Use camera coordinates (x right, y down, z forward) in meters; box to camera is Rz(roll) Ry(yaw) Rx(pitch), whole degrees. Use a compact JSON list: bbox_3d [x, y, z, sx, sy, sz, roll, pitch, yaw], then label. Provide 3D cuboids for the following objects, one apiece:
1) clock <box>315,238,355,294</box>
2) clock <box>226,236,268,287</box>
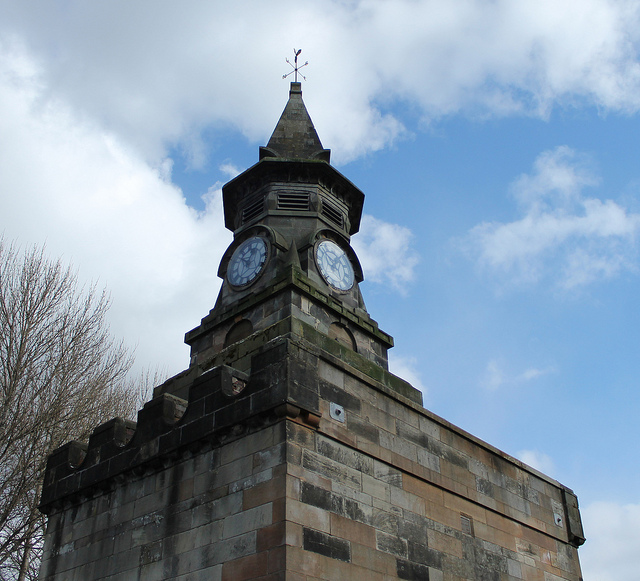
[{"bbox_3d":[0.412,-0.744,27.571,1.681,1.822,0.091,4,-22,-45],"label":"clock"},{"bbox_3d":[-2.404,-0.901,27.165,0.096,1.524,1.453,37,-62,-27],"label":"clock"}]
